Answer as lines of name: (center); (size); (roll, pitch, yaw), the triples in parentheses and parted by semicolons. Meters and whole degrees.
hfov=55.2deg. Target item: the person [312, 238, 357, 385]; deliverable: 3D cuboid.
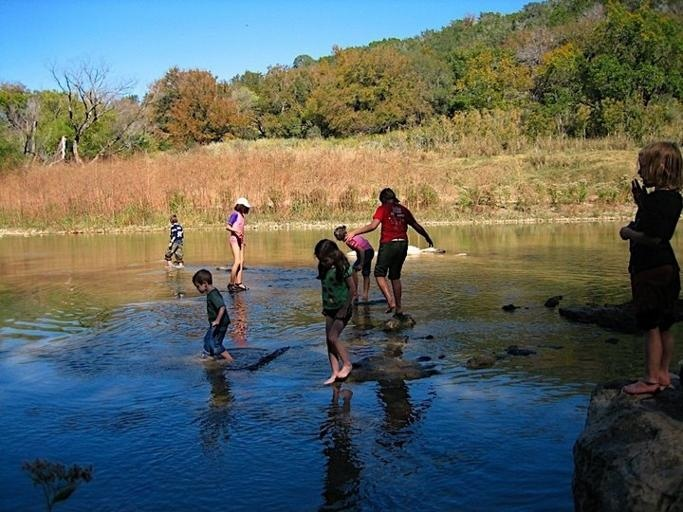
person: (-0.067, 0.629, 7.639); (0.439, 1.644, 0.553); (-2, 9, -2)

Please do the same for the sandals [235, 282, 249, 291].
sandals: (-2.173, 0.673, 14.066); (0.251, 0.088, 0.128); (2, 5, 16)

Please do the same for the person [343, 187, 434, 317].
person: (0.857, -0.038, 10.936); (0.687, 2.165, 1.147); (1, 9, 14)

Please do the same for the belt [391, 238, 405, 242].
belt: (0.952, -0.271, 10.887); (0.252, 0.060, 0.059); (-7, 10, -34)

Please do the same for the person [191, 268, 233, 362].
person: (-1.790, 0.728, 8.970); (0.447, 1.190, 1.424); (-3, 9, -10)
